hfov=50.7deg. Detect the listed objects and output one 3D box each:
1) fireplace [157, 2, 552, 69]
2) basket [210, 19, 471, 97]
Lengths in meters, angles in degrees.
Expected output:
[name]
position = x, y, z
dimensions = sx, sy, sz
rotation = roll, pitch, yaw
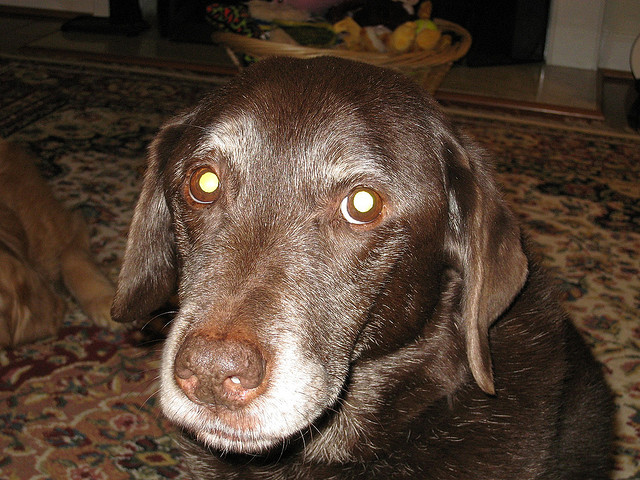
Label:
[fireplace]
position = 1.189, -2.537, 7.940
dimensions = 2.576, 0.524, 2.426
rotation = -14, 27, -22
[basket]
position = 0.431, -1.469, 5.651
dimensions = 2.179, 0.645, 1.146
rotation = -10, 28, -34
